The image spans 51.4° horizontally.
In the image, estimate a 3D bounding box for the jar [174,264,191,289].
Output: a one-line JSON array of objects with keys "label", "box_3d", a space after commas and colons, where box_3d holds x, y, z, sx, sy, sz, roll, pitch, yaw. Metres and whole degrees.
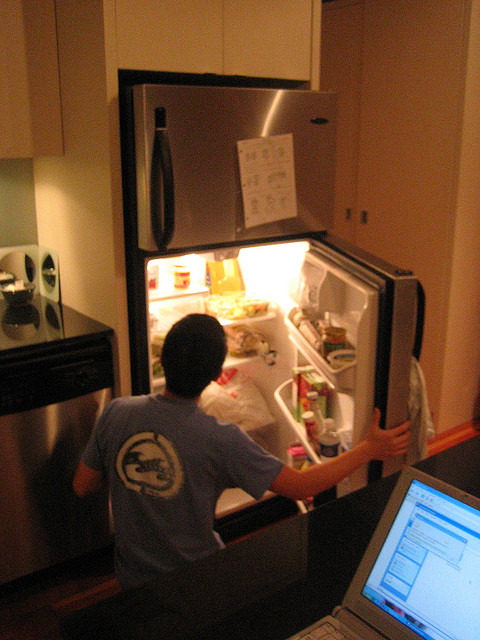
[{"label": "jar", "box_3d": [-0.221, -0.165, 1.912, 0.056, 0.097, 0.070, 0, 7, -2]}]

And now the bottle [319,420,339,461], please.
[{"label": "bottle", "box_3d": [0.289, 0.384, 1.629, 0.059, 0.192, 0.082, 7, 48, 15]}]

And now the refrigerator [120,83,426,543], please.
[{"label": "refrigerator", "box_3d": [0.058, 0.021, 1.733, 0.823, 1.523, 1.053, 6, 28, 13]}]
